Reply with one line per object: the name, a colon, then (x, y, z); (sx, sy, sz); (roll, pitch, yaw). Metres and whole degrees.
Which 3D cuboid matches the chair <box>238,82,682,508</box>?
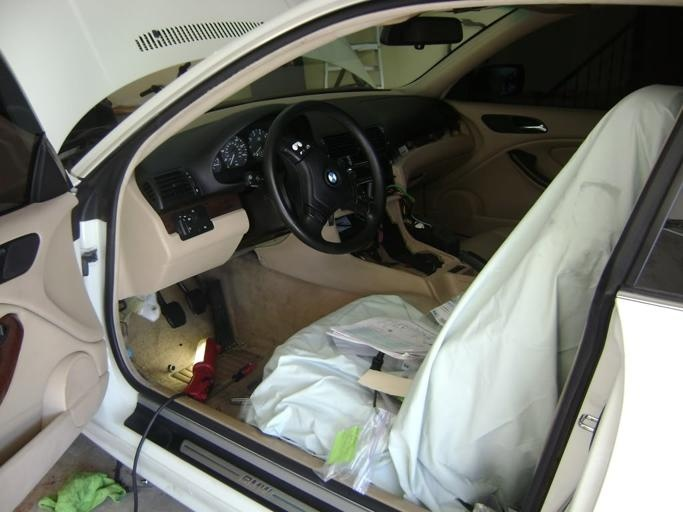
chair: (0.246, -0.139, 1.721); (1.033, 1.311, 0.888); (22, 26, 18)
